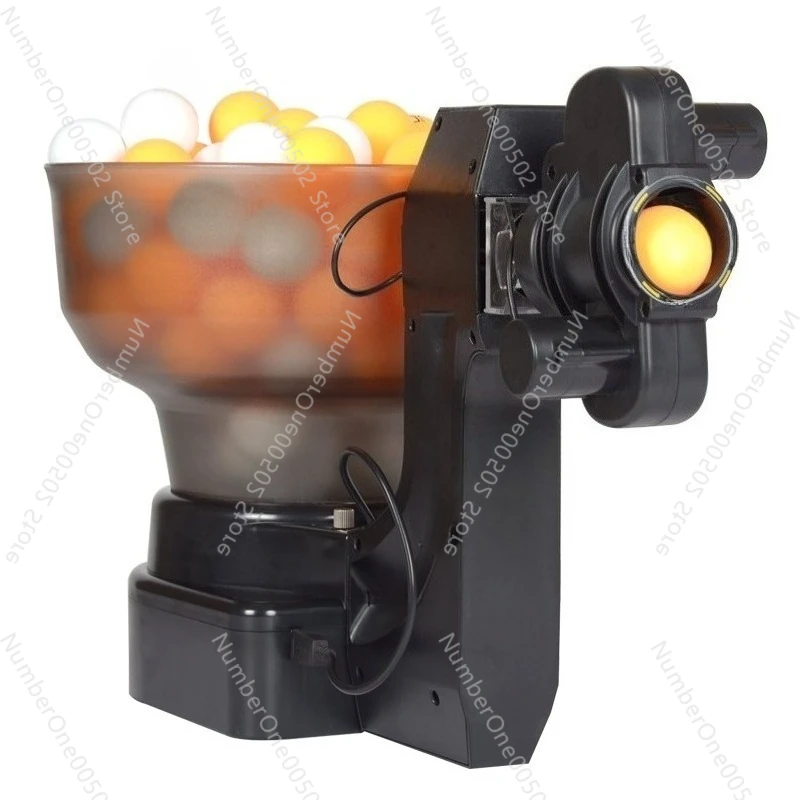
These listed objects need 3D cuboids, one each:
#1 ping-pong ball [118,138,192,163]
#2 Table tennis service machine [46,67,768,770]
[{"bbox_3d":[-0.303,-0.305,1.173,0.075,0.038,0.062,3,9,27],"label":"ping-pong ball"},{"bbox_3d":[0.053,0.031,1.239,0.609,0.713,0.946,-2,5,-31],"label":"Table tennis service machine"}]
